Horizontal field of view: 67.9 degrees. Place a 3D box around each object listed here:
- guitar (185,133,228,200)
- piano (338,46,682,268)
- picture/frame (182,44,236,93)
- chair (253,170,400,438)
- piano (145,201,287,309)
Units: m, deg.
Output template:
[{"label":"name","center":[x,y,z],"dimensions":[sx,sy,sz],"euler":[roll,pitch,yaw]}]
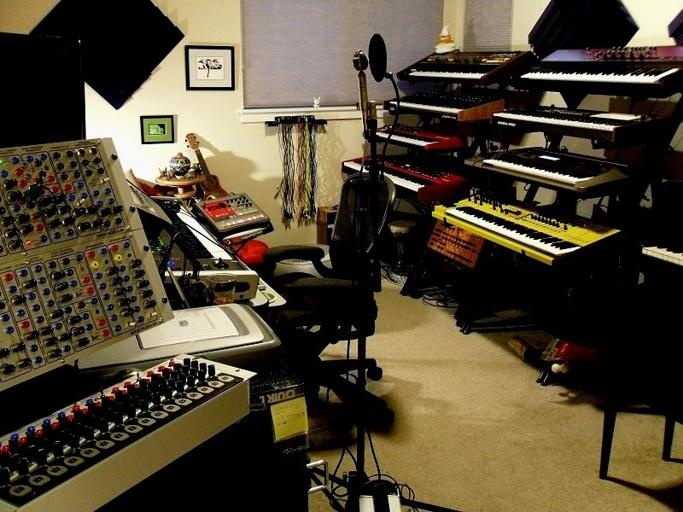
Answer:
[{"label":"guitar","center":[-1.186,-0.784,4.479],"dimensions":[0.302,0.546,0.581],"euler":[-9,21,-15]},{"label":"piano","center":[1.300,-0.692,3.732],"dimensions":[1.156,1.550,1.835],"euler":[-9,21,-17]},{"label":"picture/frame","center":[-1.208,-1.678,4.539],"dimensions":[0.507,0.366,0.037],"euler":[-4,13,-21]},{"label":"chair","center":[-0.233,0.183,2.885],"dimensions":[0.971,1.297,0.866],"euler":[-4,5,-17]},{"label":"piano","center":[-0.647,-0.060,2.349],"dimensions":[0.497,0.455,0.965],"euler":[-12,22,-25]}]
